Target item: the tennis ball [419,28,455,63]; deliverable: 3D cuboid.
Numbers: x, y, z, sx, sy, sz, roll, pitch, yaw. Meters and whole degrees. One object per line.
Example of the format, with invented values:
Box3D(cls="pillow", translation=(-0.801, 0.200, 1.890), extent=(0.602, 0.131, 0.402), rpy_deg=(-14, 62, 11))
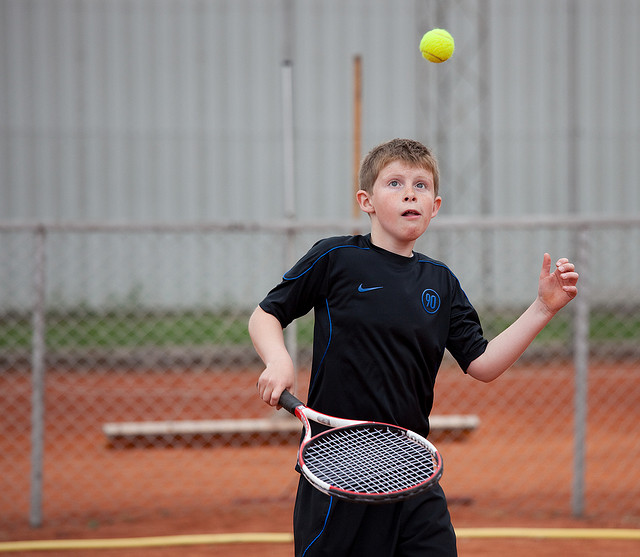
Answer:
Box3D(cls="tennis ball", translation=(0.691, -1.364, 6.497), extent=(0.200, 0.218, 0.204), rpy_deg=(-1, 8, 0))
